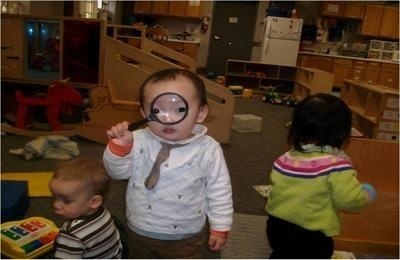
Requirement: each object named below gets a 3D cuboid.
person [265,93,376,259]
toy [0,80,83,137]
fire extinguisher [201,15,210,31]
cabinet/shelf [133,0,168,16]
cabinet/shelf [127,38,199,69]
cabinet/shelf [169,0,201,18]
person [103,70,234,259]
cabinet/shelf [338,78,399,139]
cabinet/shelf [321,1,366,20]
[{"bbox_3d":[0.641,0.294,1.621,0.499,0.960,0.247,9,13,12],"label":"person"},{"bbox_3d":[-1.823,-0.272,3.499,0.881,0.644,0.448,4,13,-7],"label":"toy"},{"bbox_3d":[0.148,-3.089,8.681,0.263,0.428,0.123,5,13,-5],"label":"fire extinguisher"},{"bbox_3d":[-1.344,-3.373,8.235,0.899,0.404,0.405,8,13,13],"label":"cabinet/shelf"},{"bbox_3d":[-0.486,-1.150,4.716,1.068,0.229,0.975,21,6,7],"label":"cabinet/shelf"},{"bbox_3d":[-0.431,-3.407,8.345,0.916,0.453,0.230,1,14,-20],"label":"cabinet/shelf"},{"bbox_3d":[-0.147,0.177,1.460,0.641,0.929,0.337,4,13,-11],"label":"person"},{"bbox_3d":[1.838,-0.222,3.230,0.267,0.444,0.770,5,14,-16],"label":"cabinet/shelf"},{"bbox_3d":[3.797,-3.211,7.878,1.135,0.434,0.341,2,13,-14],"label":"cabinet/shelf"}]
